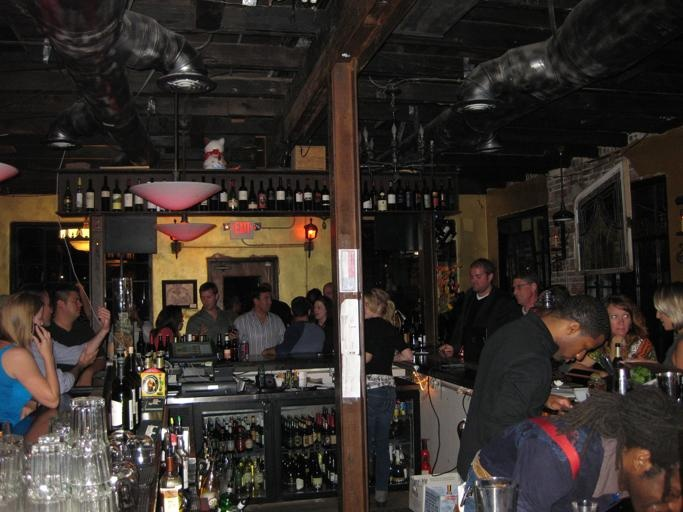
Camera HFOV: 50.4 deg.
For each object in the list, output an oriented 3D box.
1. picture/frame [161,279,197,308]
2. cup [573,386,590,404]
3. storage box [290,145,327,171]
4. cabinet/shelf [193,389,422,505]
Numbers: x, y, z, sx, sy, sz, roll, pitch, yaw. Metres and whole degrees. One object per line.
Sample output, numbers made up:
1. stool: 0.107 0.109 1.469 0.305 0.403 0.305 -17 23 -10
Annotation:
1. picture/frame: -2.453 0.573 10.796 0.413 0.370 0.040 0 -4 -14
2. cup: 1.541 0.883 4.653 0.091 0.070 0.354 -3 -6 17
3. storage box: -0.389 -1.175 8.672 0.363 0.237 0.367 0 -3 -7
4. cabinet/shelf: -0.366 1.641 6.226 1.167 0.705 0.347 1 -8 -16
